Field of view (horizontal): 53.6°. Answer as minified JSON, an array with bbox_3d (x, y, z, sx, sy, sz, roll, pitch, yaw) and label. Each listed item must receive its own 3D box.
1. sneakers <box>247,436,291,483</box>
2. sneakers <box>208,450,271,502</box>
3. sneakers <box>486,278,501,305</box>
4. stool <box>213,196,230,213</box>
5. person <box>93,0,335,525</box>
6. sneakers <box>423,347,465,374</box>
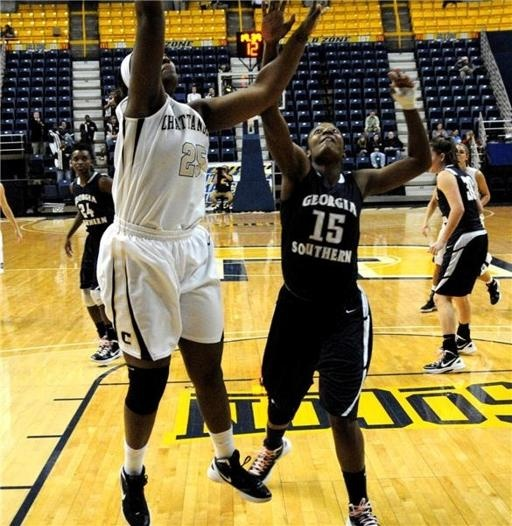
[{"bbox_3d":[0.047,0.854,2.232,0.258,0.102,0.084,-49,27,-24],"label":"sneakers"},{"bbox_3d":[-0.065,0.825,1.991,0.278,0.146,0.097,11,4,29],"label":"sneakers"},{"bbox_3d":[2.407,0.289,5.143,0.087,0.270,0.116,-10,-13,40],"label":"sneakers"},{"bbox_3d":[-0.961,-1.696,14.398,0.478,0.235,0.629,0,0,-3],"label":"stool"},{"bbox_3d":[-0.220,0.109,1.805,0.630,1.834,0.347,-7,14,-23],"label":"person"},{"bbox_3d":[1.299,0.693,3.565,0.340,0.199,0.125,-1,-1,3],"label":"sneakers"}]
